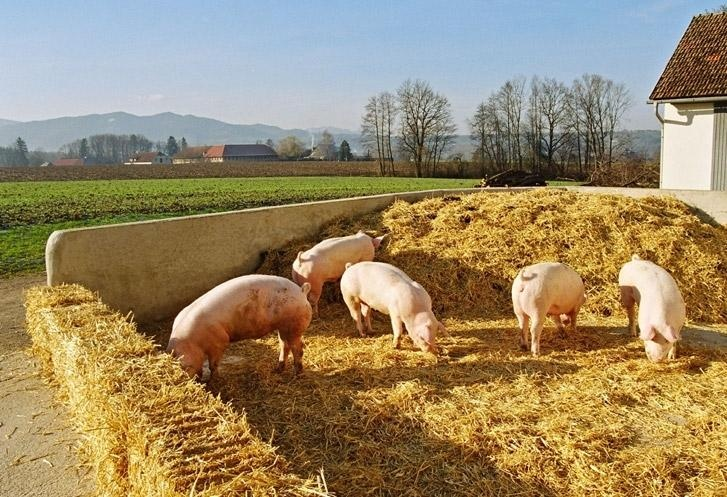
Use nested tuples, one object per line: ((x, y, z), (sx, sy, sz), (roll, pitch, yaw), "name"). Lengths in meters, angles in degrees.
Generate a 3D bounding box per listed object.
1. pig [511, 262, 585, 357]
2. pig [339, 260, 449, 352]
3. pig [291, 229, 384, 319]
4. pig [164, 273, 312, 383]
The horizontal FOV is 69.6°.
((2.717, 0.786, 7.714), (0.758, 1.224, 1.712), (11, 16, 43), "pig")
((0.644, 1.037, 8.076), (1.290, 1.421, 1.936), (2, 9, -9), "pig")
((-0.391, 0.381, 10.055), (0.740, 1.271, 2.294), (14, 24, 38), "pig")
((-1.620, 1.089, 6.937), (1.844, 1.304, 0.589), (-7, 11, -30), "pig")
